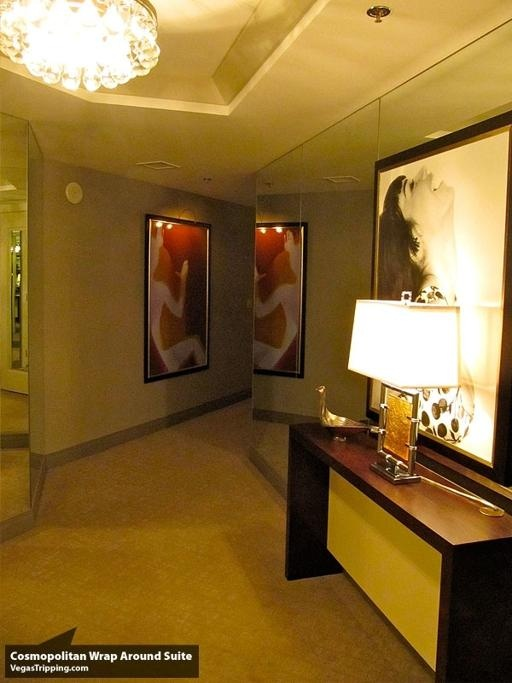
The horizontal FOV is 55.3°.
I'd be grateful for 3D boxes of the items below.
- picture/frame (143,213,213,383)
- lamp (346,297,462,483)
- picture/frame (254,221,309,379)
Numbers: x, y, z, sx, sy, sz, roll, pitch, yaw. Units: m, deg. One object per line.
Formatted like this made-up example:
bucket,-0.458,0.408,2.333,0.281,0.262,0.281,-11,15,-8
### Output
picture/frame,-0.810,-0.434,5.000,0.089,1.601,0.951,3,5,32
lamp,0.513,0.157,1.691,0.286,0.616,0.396,-1,5,-15
picture/frame,0.153,-0.290,3.487,0.137,1.136,0.745,-1,5,-18
